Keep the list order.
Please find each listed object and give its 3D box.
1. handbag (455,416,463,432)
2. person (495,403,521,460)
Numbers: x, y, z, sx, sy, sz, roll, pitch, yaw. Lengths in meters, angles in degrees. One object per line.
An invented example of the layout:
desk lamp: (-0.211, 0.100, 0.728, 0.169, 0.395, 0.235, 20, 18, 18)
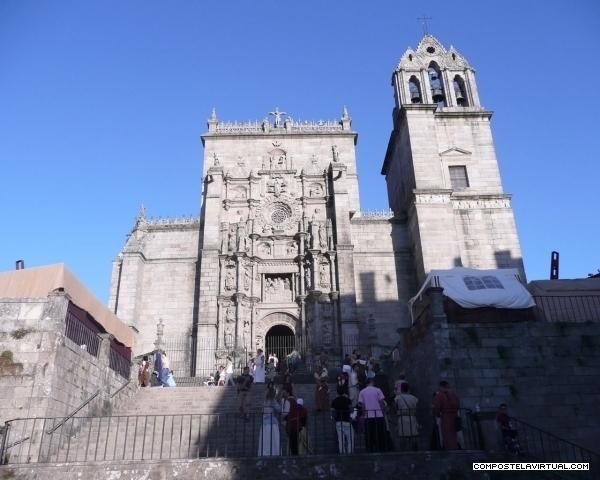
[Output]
handbag: (3.584, 4.139, 9.838, 0.145, 0.318, 0.322, -8, -24, 14)
person: (4.772, 4.354, 9.990, 0.398, 1.078, 0.430, -12, -24, 22)
